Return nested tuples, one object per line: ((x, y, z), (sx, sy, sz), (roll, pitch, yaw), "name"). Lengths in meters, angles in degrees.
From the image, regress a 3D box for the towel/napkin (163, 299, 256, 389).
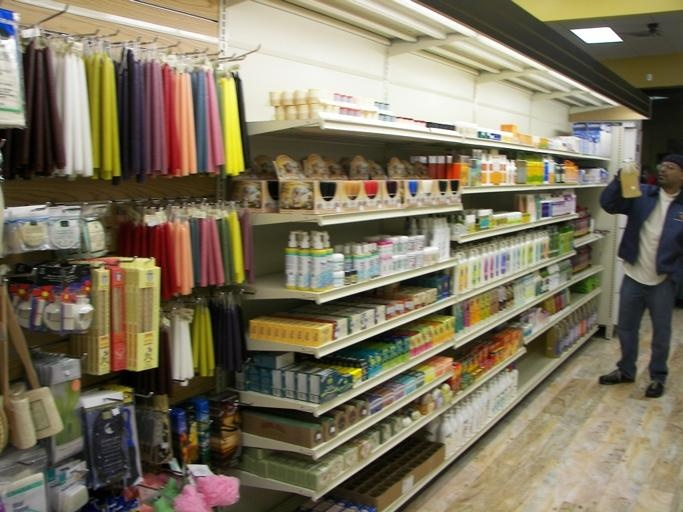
((-0.694, 0.405, 2.541), (0.216, 0.414, 0.484), (5, 11, 32), "towel/napkin")

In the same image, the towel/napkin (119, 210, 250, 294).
((-0.725, -0.029, 2.347), (0.270, 0.252, 0.555), (5, 9, 40), "towel/napkin")

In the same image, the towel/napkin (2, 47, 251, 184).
((-0.910, -0.584, 2.142), (0.192, 0.357, 1.013), (12, 16, 37), "towel/napkin")

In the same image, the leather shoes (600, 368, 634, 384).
((2.990, 1.340, 5.736), (0.448, 0.115, 0.147), (2, 4, 1), "leather shoes")

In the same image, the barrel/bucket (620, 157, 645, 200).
((2.829, -0.751, 5.085), (0.191, 0.353, 0.471), (4, 10, 26), "barrel/bucket")

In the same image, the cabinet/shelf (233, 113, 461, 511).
((0.243, 0.343, 3.671), (1.050, 2.468, 2.396), (3, 10, 22), "cabinet/shelf")
